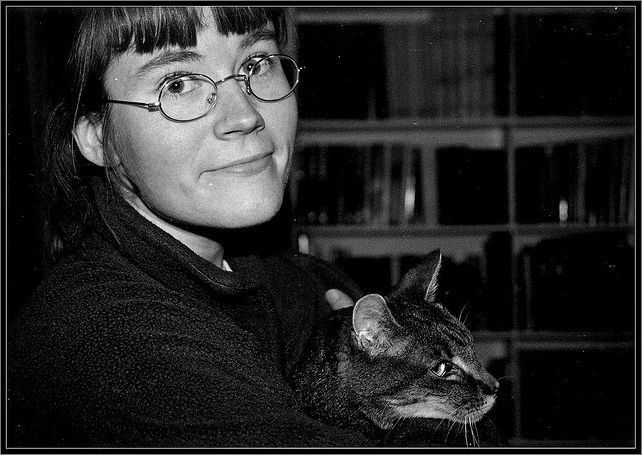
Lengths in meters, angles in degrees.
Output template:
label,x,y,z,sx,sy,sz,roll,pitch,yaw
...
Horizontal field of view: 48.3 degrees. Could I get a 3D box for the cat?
label,x,y,z,sx,sy,sz,roll,pitch,yaw
cat,0.143,0.191,1.336,0.339,0.248,0.360,9,94,5

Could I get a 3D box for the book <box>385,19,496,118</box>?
label,x,y,z,sx,sy,sz,roll,pitch,yaw
book,0.350,-0.440,2.005,0.293,0.071,0.299,3,87,-12

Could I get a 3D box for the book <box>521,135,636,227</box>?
label,x,y,z,sx,sy,sz,roll,pitch,yaw
book,0.530,-0.078,1.555,0.302,0.292,0.183,1,86,-2
